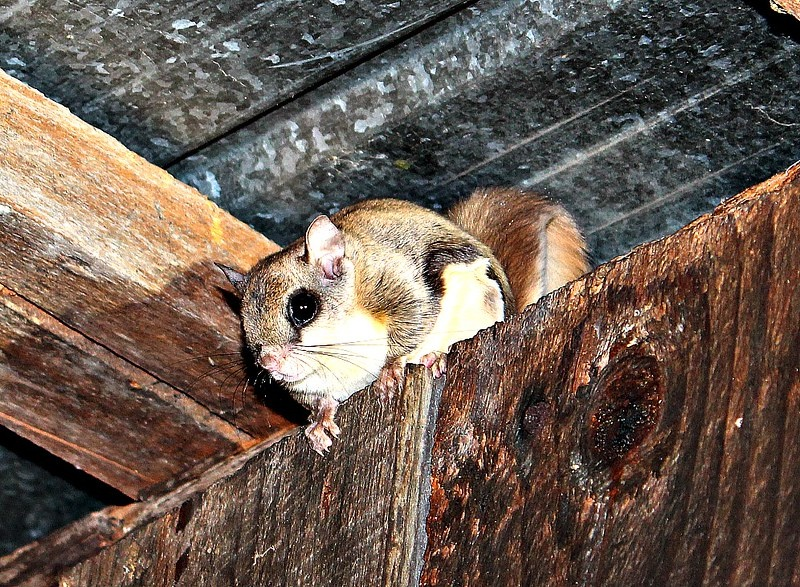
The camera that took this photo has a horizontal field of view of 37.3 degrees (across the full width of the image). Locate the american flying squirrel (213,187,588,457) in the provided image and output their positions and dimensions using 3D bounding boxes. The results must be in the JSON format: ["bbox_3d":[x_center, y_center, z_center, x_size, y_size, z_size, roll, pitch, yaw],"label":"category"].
[{"bbox_3d":[-0.029,0.072,3.777,0.816,0.661,1.247,21,39,34],"label":"american flying squirrel"}]
